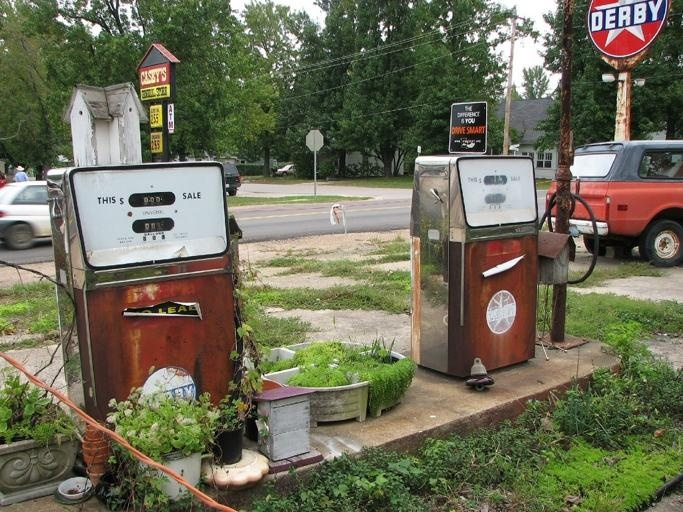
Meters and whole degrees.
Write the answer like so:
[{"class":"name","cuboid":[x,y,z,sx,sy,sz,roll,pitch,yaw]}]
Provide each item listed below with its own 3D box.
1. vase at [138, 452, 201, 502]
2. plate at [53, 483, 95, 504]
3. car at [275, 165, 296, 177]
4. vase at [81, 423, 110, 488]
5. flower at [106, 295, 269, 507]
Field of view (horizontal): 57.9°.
[{"class":"vase","cuboid":[-1.085,1.421,4.048,0.303,0.256,0.317,-2,-6,-3]},{"class":"plate","cuboid":[-1.835,1.628,4.249,0.269,0.079,0.187,6,13,37]},{"class":"car","cuboid":[-6.230,-9.570,68.458,1.482,1.234,3.057,-10,13,-36]},{"class":"vase","cuboid":[-1.664,1.347,4.192,0.220,0.463,0.087,3,11,25]},{"class":"flower","cuboid":[-1.147,0.882,4.554,1.024,1.473,1.082,3,4,36]}]
